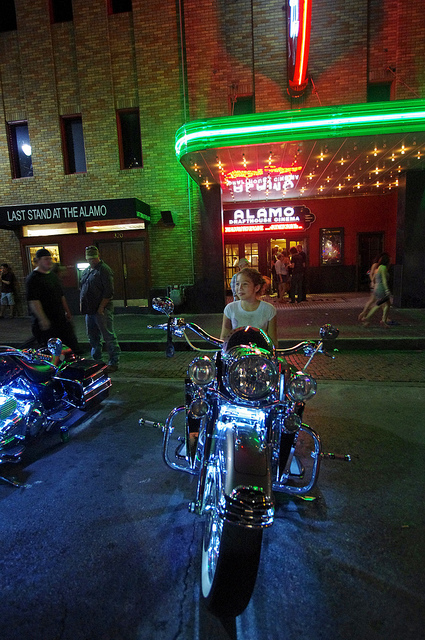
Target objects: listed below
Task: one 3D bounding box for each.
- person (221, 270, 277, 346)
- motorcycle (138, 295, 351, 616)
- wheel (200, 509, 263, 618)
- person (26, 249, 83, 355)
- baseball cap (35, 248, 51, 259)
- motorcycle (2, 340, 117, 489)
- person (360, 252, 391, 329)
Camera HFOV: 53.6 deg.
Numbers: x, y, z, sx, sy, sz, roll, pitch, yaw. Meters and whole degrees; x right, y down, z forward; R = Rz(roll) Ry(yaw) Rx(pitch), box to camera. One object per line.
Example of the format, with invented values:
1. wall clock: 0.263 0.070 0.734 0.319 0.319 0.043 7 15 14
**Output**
1. person: 0.256 -0.025 3.078 0.430 0.698 0.421 0 5 15
2. motorcycle: 0.131 0.653 2.515 1.238 1.540 1.577 1 9 18
3. wheel: 0.088 1.103 1.872 0.156 0.481 0.482 13 -31 -1
4. person: -2.032 -0.174 5.290 0.563 1.423 0.702 -4 9 -18
5. baseball cap: -2.162 -0.839 5.273 0.134 0.122 0.133 5 24 30
6. motorcycle: -1.744 0.763 4.374 0.752 0.786 1.545 -1 7 25
7. person: 3.788 -0.698 9.545 0.544 1.582 1.569 2 9 22
